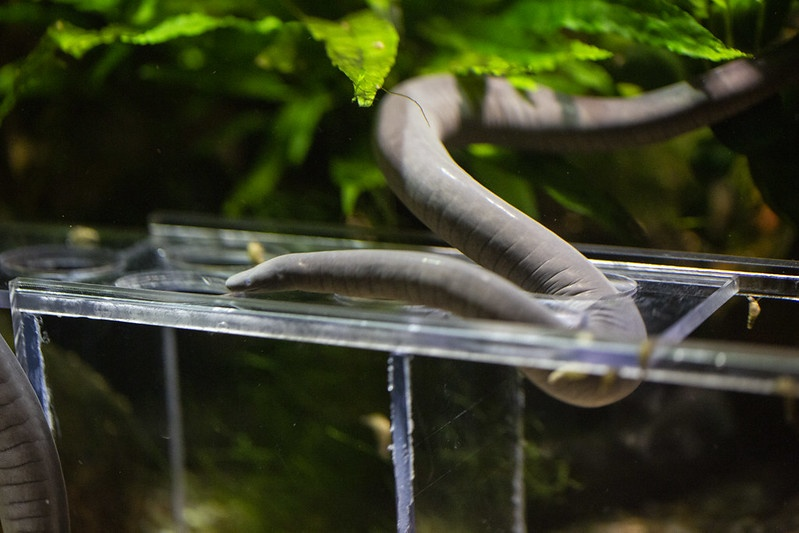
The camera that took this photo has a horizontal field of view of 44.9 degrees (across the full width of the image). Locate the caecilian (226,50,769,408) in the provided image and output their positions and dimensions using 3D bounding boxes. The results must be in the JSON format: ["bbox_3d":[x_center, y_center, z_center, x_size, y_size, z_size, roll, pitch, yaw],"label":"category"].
[{"bbox_3d":[0.156,-0.138,1.185,0.510,0.089,0.509,34,37,32],"label":"caecilian"}]
